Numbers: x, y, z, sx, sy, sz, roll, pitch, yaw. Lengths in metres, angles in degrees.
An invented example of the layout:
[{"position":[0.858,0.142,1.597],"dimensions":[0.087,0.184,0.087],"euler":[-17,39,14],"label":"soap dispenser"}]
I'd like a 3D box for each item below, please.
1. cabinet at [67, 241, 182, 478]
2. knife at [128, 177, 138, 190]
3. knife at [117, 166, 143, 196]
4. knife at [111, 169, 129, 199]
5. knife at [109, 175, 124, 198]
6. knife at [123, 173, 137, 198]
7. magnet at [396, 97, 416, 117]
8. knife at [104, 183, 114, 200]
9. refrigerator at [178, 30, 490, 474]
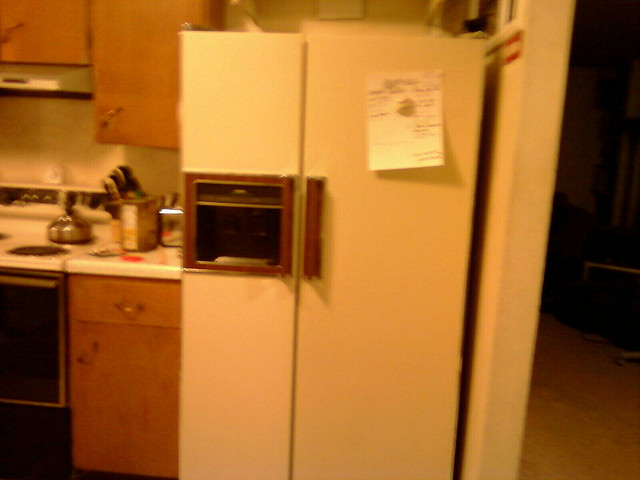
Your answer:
[{"position":[-0.861,0.551,3.033],"dimensions":[0.546,1.011,0.561],"euler":[3,9,-2],"label":"cabinet"},{"position":[-0.945,-0.284,3.083],"dimensions":[0.039,0.062,0.006],"euler":[-5,14,-15],"label":"knife"},{"position":[-0.943,-0.299,3.089],"dimensions":[0.050,0.198,0.053],"euler":[-27,38,9],"label":"knife"},{"position":[-0.983,-0.277,3.049],"dimensions":[0.036,0.133,0.095],"euler":[-15,1,-4],"label":"knife"},{"position":[-0.998,-0.265,3.022],"dimensions":[0.019,0.086,0.084],"euler":[-18,-9,-10],"label":"knife"},{"position":[-0.955,-0.266,3.079],"dimensions":[0.029,0.137,0.037],"euler":[-18,-3,23],"label":"knife"},{"position":[0.354,-0.540,2.490],"dimensions":[0.073,0.073,0.020],"euler":[3,12,2],"label":"magnet"},{"position":[-1.065,-0.245,3.085],"dimensions":[0.017,0.067,0.070],"euler":[-9,-17,-15],"label":"knife"},{"position":[0.032,0.075,2.570],"dimensions":[1.249,1.849,0.496],"euler":[1,14,11],"label":"refrigerator"}]
